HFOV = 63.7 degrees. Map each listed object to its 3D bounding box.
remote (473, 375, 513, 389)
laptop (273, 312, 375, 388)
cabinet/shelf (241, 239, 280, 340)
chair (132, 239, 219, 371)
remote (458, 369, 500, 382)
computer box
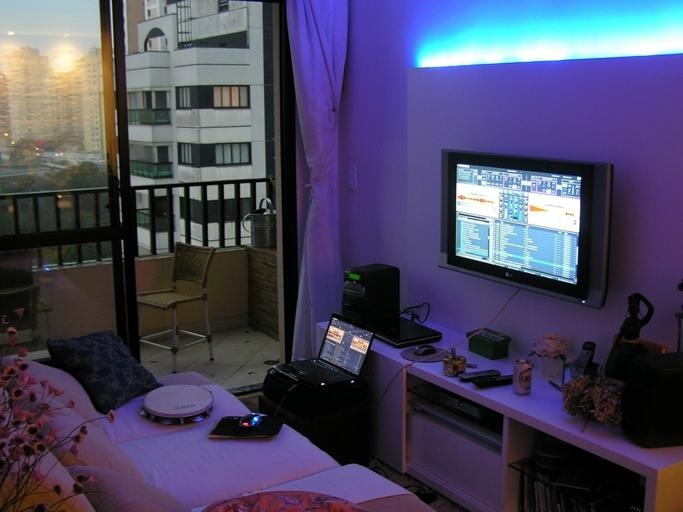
[{"bbox_3d":[0.764,0.628,2.775,0.139,0.031,0.080,-6,11,-18],"label":"remote"},{"bbox_3d":[-0.090,0.566,3.301,0.481,0.288,0.497,6,9,44],"label":"laptop"},{"bbox_3d":[-0.742,0.341,5.328,0.176,0.812,0.617,-5,12,-29],"label":"cabinet/shelf"},{"bbox_3d":[-1.480,0.437,4.749,0.603,0.984,0.658,4,7,23],"label":"chair"},{"bbox_3d":[0.719,0.610,2.825,0.168,0.028,0.079,-6,11,-19],"label":"remote"},{"bbox_3d":[0.199,0.258,3.630,0.231,0.354,0.351,7,13,43],"label":"computer box"}]
